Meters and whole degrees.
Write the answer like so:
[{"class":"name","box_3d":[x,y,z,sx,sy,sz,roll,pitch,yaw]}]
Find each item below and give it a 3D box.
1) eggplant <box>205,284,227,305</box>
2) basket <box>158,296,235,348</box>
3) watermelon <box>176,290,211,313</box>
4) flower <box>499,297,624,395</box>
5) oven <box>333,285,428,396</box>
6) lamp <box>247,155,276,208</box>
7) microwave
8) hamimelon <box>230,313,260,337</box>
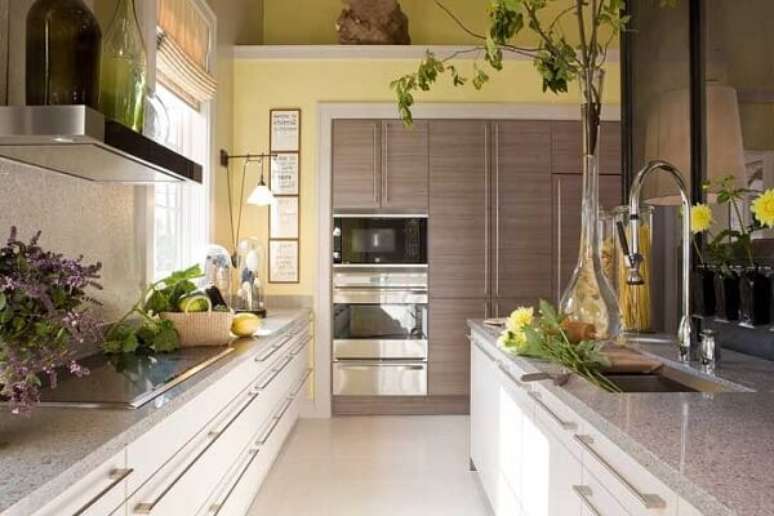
[{"class":"eggplant","box_3d":[-0.958,0.204,3.207,0.066,0.123,0.067,-27,3,21]},{"class":"basket","box_3d":[-0.897,0.304,2.721,0.301,0.219,0.214,0,-3,-11]},{"class":"watermelon","box_3d":[-0.930,0.203,2.775,0.101,0.103,0.106,-8,-3,21]},{"class":"flower","box_3d":[0.694,0.322,2.351,0.266,0.230,0.463,-11,18,-29]},{"class":"oven","box_3d":[-0.068,0.565,4.945,1.109,1.100,0.741,-1,-6,1]},{"class":"lamp","box_3d":[-0.948,-0.602,4.344,0.197,0.402,0.530,-2,6,-13]},{"class":"microwave","box_3d":[-0.048,-0.147,4.571,0.645,0.347,0.398,0,-2,2]},{"class":"hamimelon","box_3d":[-0.751,0.347,3.079,0.136,0.104,0.103,1,40,-45]}]
